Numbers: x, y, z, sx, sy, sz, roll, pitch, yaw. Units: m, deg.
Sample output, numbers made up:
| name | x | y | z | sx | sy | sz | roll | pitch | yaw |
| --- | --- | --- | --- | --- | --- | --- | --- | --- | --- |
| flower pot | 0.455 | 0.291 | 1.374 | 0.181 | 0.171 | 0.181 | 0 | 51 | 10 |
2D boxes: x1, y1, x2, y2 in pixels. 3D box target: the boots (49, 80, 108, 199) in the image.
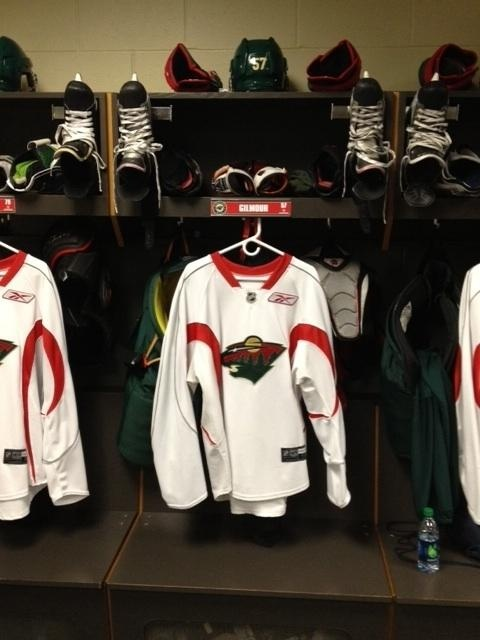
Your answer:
| name | x | y | z | sx | sy | sz | roll | pitch | yaw |
| --- | --- | --- | --- | --- | --- | --- | --- | --- | --- |
| boots | -0.428 | -0.449 | 1.577 | 0.128 | 0.348 | 0.129 | 1 | 5 | -2 |

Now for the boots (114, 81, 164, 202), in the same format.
| name | x | y | z | sx | sy | sz | roll | pitch | yaw |
| --- | --- | --- | --- | --- | --- | --- | --- | --- | --- |
| boots | -0.243 | -0.449 | 1.541 | 0.104 | 0.348 | 0.150 | 1 | 13 | 1 |

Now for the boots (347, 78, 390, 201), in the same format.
| name | x | y | z | sx | sy | sz | roll | pitch | yaw |
| --- | --- | --- | --- | --- | --- | --- | --- | --- | --- |
| boots | 0.320 | -0.450 | 1.501 | 0.102 | 0.332 | 0.112 | 2 | 9 | 11 |

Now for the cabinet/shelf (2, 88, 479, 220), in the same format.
| name | x | y | z | sx | sy | sz | roll | pitch | yaw |
| --- | --- | --- | --- | --- | --- | --- | --- | --- | --- |
| cabinet/shelf | -0.022 | -0.496 | 1.992 | 1.948 | 0.342 | 0.537 | 1 | 8 | 0 |

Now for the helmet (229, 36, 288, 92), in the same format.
| name | x | y | z | sx | sy | sz | roll | pitch | yaw |
| --- | --- | --- | --- | --- | --- | --- | --- | --- | --- |
| helmet | 0.055 | -0.705 | 1.647 | 0.115 | 0.162 | 0.169 | 1 | 21 | 3 |

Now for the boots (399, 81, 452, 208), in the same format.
| name | x | y | z | sx | sy | sz | roll | pitch | yaw |
| --- | --- | --- | --- | --- | --- | --- | --- | --- | --- |
| boots | 0.467 | -0.418 | 1.528 | 0.093 | 0.362 | 0.125 | 6 | 17 | 7 |
